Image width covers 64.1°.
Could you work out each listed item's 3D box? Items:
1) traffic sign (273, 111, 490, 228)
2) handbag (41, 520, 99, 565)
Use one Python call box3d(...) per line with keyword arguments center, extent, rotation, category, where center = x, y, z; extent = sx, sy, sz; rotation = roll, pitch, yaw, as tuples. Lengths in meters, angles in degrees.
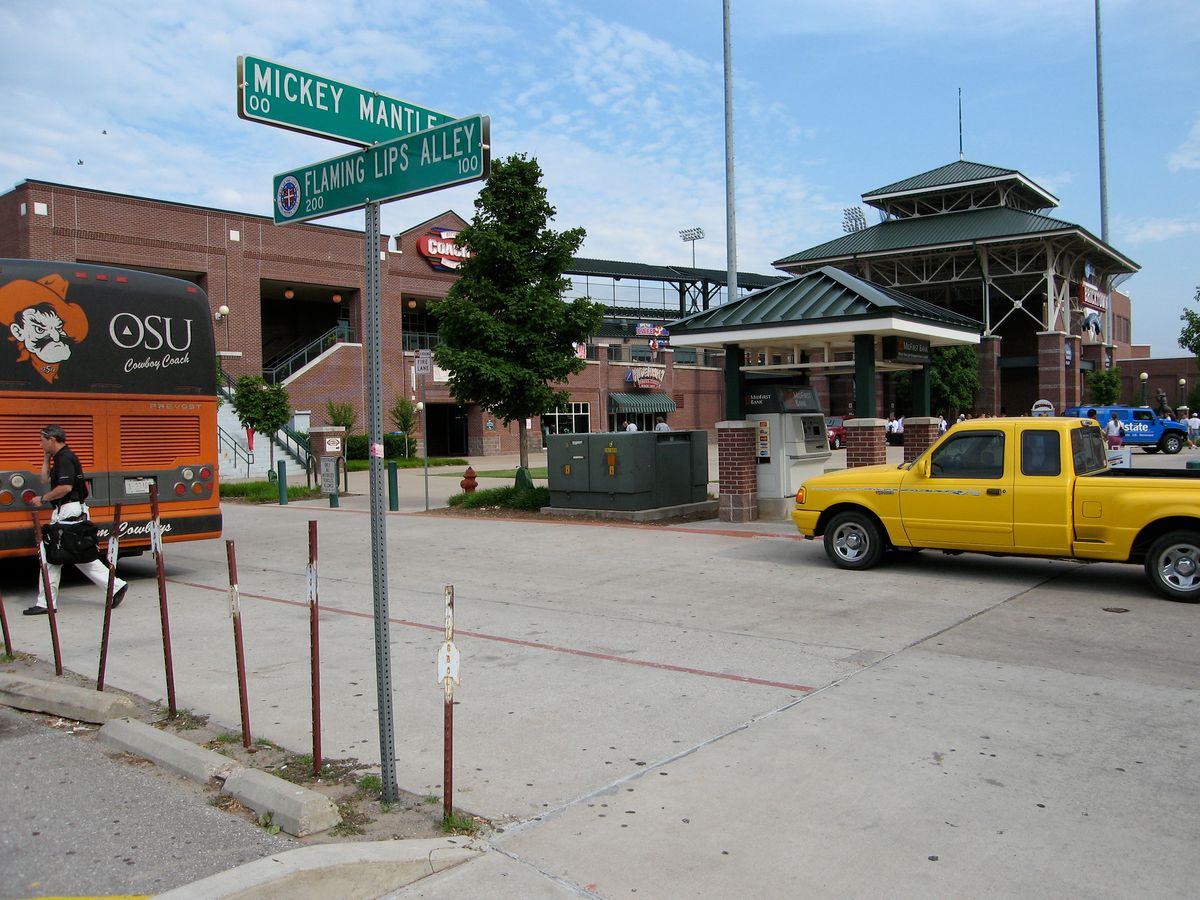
box3d(center=(-1.495, -1.864, 6.441), extent=(1.824, 0.501, 0.187), rotation=(2, 5, 33), category="traffic sign")
box3d(center=(-6.151, 1.083, 11.215), extent=(0.322, 0.565, 0.576), rotation=(3, 0, 42), category="handbag")
